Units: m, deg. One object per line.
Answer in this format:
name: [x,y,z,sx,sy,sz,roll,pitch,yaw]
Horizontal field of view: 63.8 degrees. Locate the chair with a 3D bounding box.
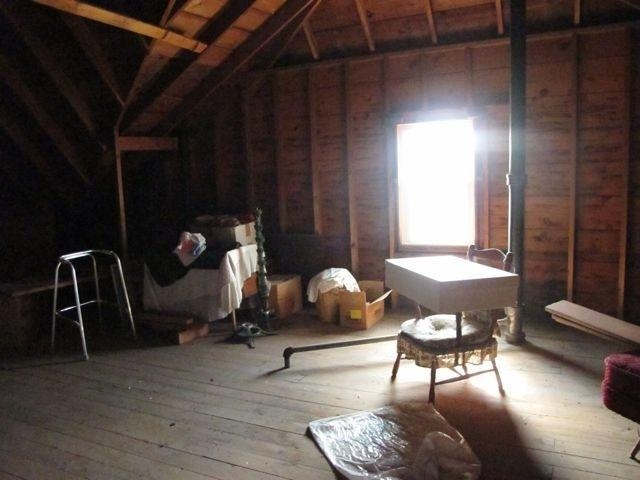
chair: [1.048,0.615,4.146,0.812,1.036,0.947,-4,8,-17]

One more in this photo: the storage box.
storage box: [0.096,0.702,5.709,1.016,0.392,0.622,2,7,23]
